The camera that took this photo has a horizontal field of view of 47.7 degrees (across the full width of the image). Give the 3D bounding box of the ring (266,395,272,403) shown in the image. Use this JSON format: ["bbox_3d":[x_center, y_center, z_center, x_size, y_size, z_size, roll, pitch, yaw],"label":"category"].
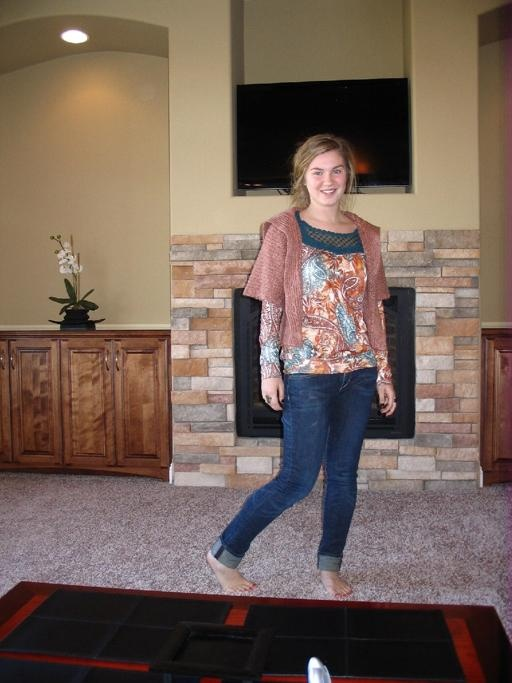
[{"bbox_3d":[0.034,0.156,1.575,0.017,0.021,0.007,-2,10,-28],"label":"ring"}]

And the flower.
[{"bbox_3d":[-1.067,-0.402,3.387,0.276,0.403,0.469,0,0,-18],"label":"flower"}]

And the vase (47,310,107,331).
[{"bbox_3d":[-0.971,-0.121,3.153,0.177,0.099,0.129,0,0,-21],"label":"vase"}]

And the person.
[{"bbox_3d":[0.120,0.086,1.634,0.522,1.224,0.294,1,0,12],"label":"person"}]
